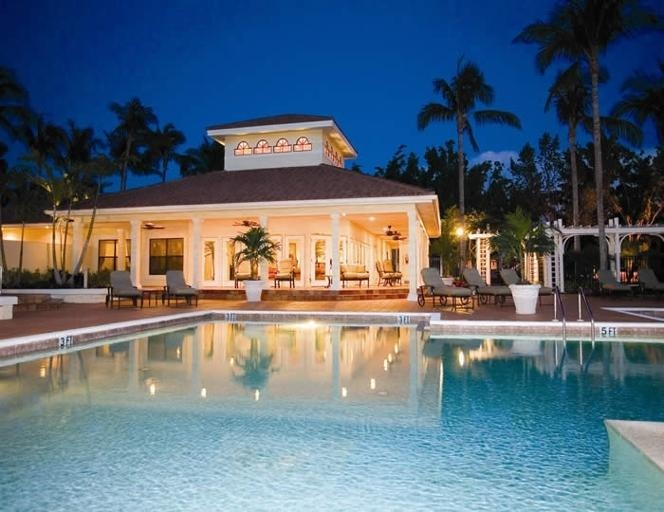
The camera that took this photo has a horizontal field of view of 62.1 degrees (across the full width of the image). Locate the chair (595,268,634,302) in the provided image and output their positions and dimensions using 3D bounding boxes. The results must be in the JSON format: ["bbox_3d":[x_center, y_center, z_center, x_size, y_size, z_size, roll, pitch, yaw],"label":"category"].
[{"bbox_3d":[10.361,1.135,20.669,0.980,1.085,1.394,-1,-3,-8],"label":"chair"}]

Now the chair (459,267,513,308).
[{"bbox_3d":[4.834,0.949,17.178,0.839,1.122,1.373,-4,1,-40],"label":"chair"}]

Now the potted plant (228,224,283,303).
[{"bbox_3d":[-2.688,0.266,19.485,1.536,2.638,1.560,0,-2,-5],"label":"potted plant"}]

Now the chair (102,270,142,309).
[{"bbox_3d":[-6.415,1.036,17.048,0.901,1.137,1.233,-2,1,-27],"label":"chair"}]

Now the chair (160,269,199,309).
[{"bbox_3d":[-4.882,1.089,17.728,0.749,1.168,1.189,0,-1,-34],"label":"chair"}]

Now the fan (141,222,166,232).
[{"bbox_3d":[-7.729,-1.257,23.841,0.717,0.334,1.501,0,3,3],"label":"fan"}]

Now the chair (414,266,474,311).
[{"bbox_3d":[3.175,1.030,16.587,1.149,0.941,0.733,6,1,18],"label":"chair"}]
